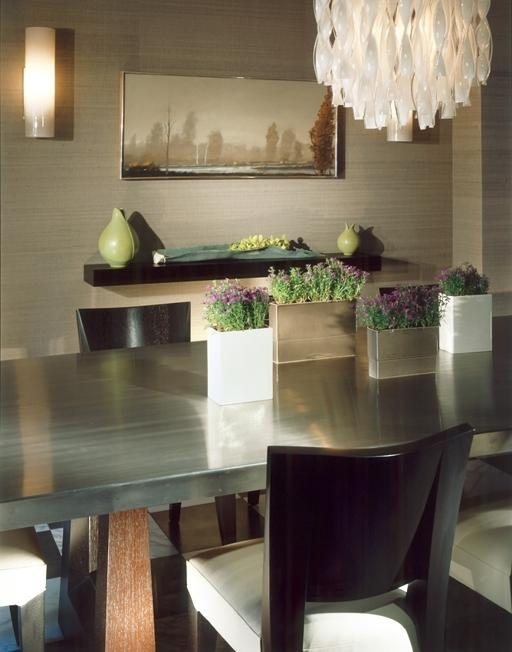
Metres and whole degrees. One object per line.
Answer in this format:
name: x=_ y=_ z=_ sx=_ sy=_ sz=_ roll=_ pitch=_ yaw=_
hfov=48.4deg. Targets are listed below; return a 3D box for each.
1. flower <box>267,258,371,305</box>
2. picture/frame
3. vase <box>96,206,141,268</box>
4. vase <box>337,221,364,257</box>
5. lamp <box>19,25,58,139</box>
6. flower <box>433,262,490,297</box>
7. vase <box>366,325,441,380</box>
flower: x=0.146 y=-0.106 z=1.348 sx=0.229 sy=0.099 sz=0.088 roll=-1 pitch=8 yaw=1
picture/frame: x=-0.132 y=-1.165 z=3.383 sx=1.326 sy=0.592 sz=0.068 roll=-3 pitch=7 yaw=-16
vase: x=-0.740 y=-0.469 z=3.051 sx=0.236 sy=0.428 sz=0.261 roll=-3 pitch=8 yaw=-32
vase: x=0.580 y=-0.537 z=3.583 sx=0.163 sy=0.280 sz=0.171 roll=3 pitch=3 yaw=34
lamp: x=-1.123 y=-1.256 z=2.949 sx=0.160 sy=0.536 sz=0.066 roll=-3 pitch=7 yaw=-21
flower: x=0.515 y=-0.133 z=1.434 sx=0.089 sy=0.065 sz=0.091 roll=-12 pitch=16 yaw=-39
vase: x=0.339 y=0.062 z=1.292 sx=0.150 sy=0.128 sz=0.094 roll=-1 pitch=4 yaw=11
